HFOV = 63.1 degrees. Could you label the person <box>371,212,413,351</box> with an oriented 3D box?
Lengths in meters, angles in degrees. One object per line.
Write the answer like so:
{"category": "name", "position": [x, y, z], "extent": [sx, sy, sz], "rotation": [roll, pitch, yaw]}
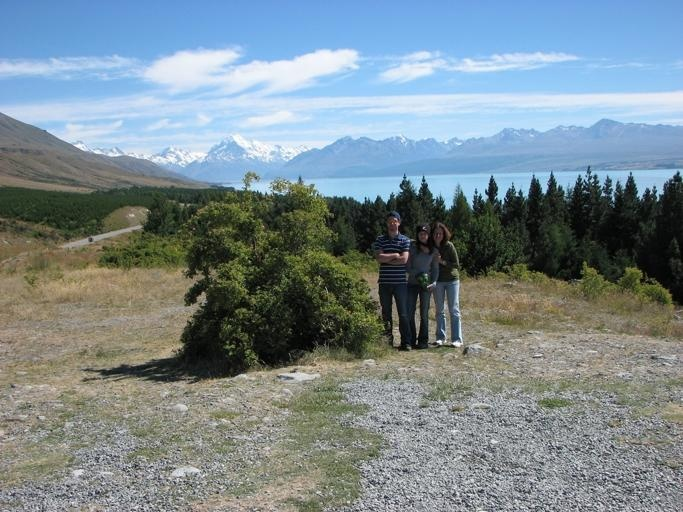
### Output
{"category": "person", "position": [1.096, 0.507, 11.696], "extent": [0.751, 2.915, 0.731], "rotation": [0, 9, 7]}
